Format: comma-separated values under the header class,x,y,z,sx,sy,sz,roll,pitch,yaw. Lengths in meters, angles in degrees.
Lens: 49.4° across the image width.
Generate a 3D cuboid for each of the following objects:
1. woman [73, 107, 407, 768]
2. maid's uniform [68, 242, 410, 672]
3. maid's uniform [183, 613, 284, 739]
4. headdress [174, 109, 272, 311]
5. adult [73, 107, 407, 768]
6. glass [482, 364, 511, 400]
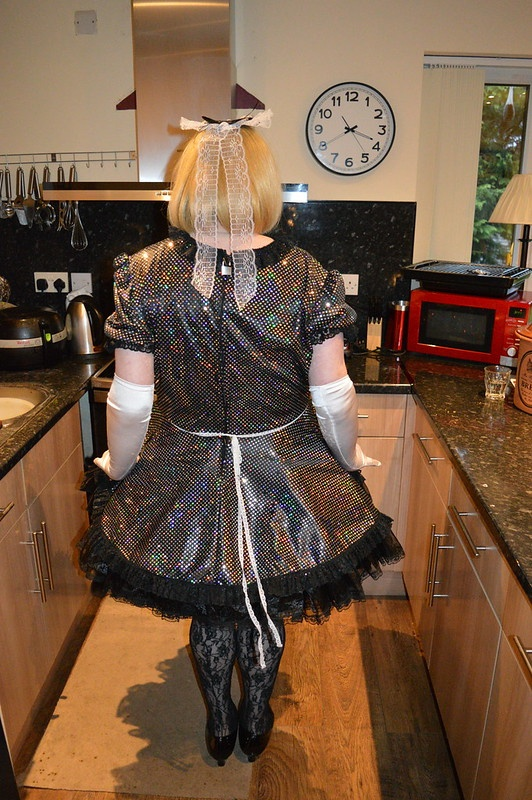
class,x,y,z,sx,sy,sz,roll,pitch,yaw
woman,-0.049,0.232,1.180,0.650,1.479,0.390,-3,13,-14
maid's uniform,-0.050,0.031,1.127,0.617,0.687,0.430,-1,24,-1
maid's uniform,-0.069,0.676,1.392,0.193,0.415,0.109,0,22,-6
headdress,-0.063,-0.317,0.958,0.152,0.316,0.175,-1,13,-4
adult,-0.049,0.232,1.179,0.651,1.479,0.389,-3,13,-14
glass,0.707,-0.053,1.823,0.093,0.110,0.094,4,22,14
